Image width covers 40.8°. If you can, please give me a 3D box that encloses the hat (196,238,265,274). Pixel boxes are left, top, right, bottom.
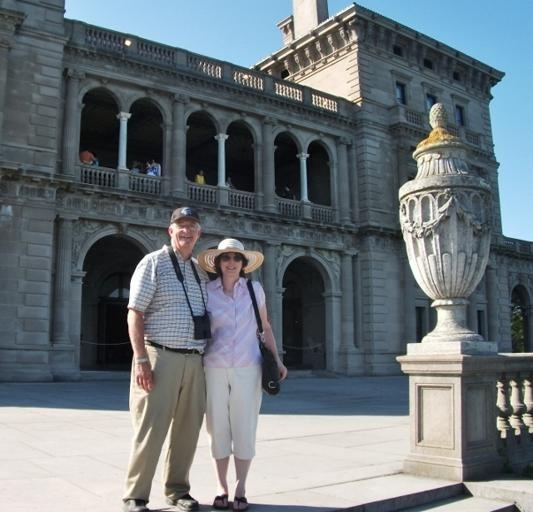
[{"bbox_3d":[-0.330,-0.079,6.370,0.610,0.172,0.520,-2,16,2],"label":"hat"}]

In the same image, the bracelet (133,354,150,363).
[{"bbox_3d":[-0.993,0.816,5.700,0.123,0.066,0.126,2,-7,-10],"label":"bracelet"}]

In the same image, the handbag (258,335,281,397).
[{"bbox_3d":[0.027,0.923,6.059,0.174,0.467,0.262,0,-8,0],"label":"handbag"}]

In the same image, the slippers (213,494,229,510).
[{"bbox_3d":[-0.357,1.973,5.743,0.071,0.058,0.151,2,-7,-11],"label":"slippers"}]

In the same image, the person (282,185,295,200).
[{"bbox_3d":[1.024,-2.864,31.604,0.547,0.848,1.265,0,-7,1],"label":"person"}]
